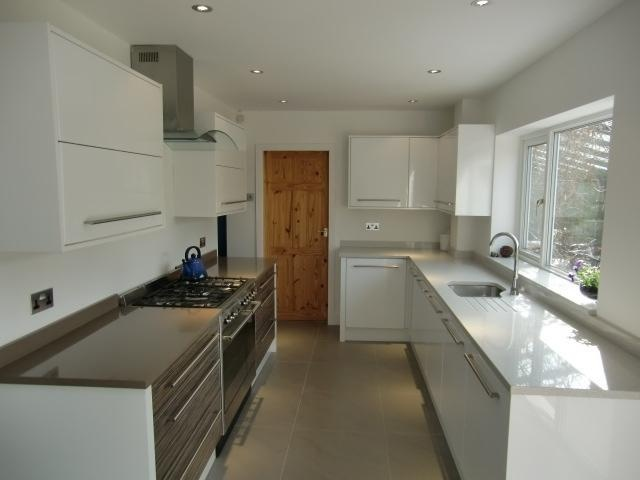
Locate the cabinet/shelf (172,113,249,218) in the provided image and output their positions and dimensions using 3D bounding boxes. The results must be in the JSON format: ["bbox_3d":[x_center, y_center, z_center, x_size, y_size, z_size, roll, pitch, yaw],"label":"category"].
[{"bbox_3d":[-0.965,-0.630,3.868,0.321,0.707,0.954,0,8,1],"label":"cabinet/shelf"}]

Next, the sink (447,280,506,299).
[{"bbox_3d":[1.334,0.426,3.836,0.240,0.105,0.195,0,6,3],"label":"sink"}]

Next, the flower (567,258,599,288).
[{"bbox_3d":[1.812,0.236,3.045,0.172,0.115,0.185,2,10,7],"label":"flower"}]

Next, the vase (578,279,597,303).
[{"bbox_3d":[1.748,0.338,2.934,0.095,0.078,0.110,3,8,12],"label":"vase"}]

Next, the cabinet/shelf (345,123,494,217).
[{"bbox_3d":[1.088,-0.741,4.881,1.042,0.737,1.097,0,2,5],"label":"cabinet/shelf"}]

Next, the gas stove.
[{"bbox_3d":[-0.977,0.384,3.406,0.755,0.071,0.808,1,12,3],"label":"gas stove"}]

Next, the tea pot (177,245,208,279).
[{"bbox_3d":[-1.037,0.218,3.887,0.205,0.330,0.307,-2,-8,14],"label":"tea pot"}]

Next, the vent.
[{"bbox_3d":[-1.145,-1.074,3.337,0.395,0.642,0.434,-2,8,2],"label":"vent"}]
